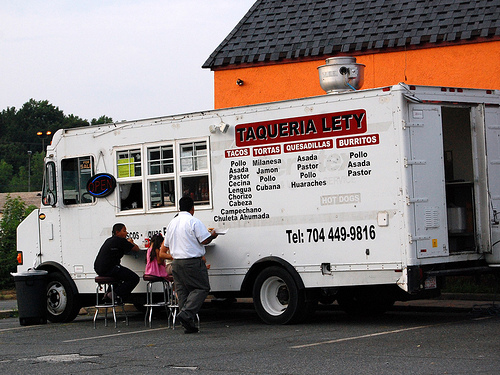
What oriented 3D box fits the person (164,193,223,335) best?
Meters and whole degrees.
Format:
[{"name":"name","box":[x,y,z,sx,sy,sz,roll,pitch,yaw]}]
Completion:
[{"name":"person","box":[-1.051,1.322,14.084,0.778,2.369,0.398,-2,-5,6]}]

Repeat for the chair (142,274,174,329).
[{"name":"chair","box":[-1.719,2.077,15.247,0.665,1.014,0.673,-3,-3,42]}]

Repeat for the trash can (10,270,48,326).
[{"name":"trash can","box":[-4.344,2.110,16.311,0.618,1.139,0.610,-1,-1,37]}]

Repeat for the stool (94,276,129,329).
[{"name":"stool","box":[-2.687,2.155,15.477,0.611,1.000,0.658,1,-2,44]}]
